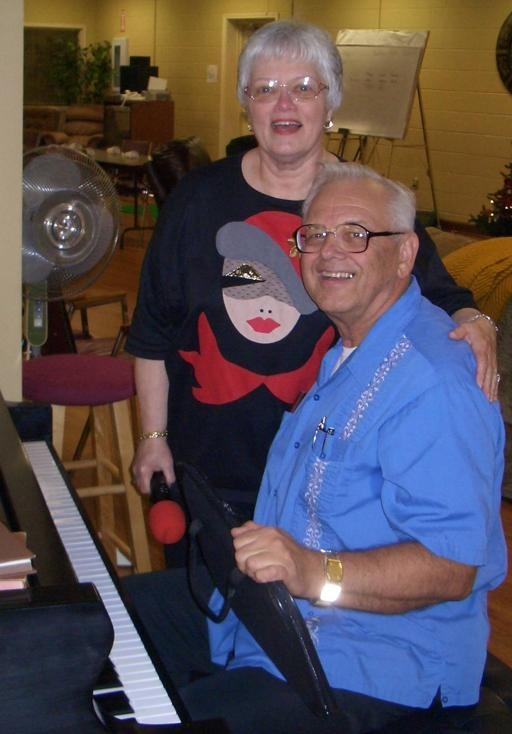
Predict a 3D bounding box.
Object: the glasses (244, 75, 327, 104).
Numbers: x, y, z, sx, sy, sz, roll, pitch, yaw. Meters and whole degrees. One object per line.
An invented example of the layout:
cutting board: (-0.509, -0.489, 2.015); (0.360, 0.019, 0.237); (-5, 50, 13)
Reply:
glasses: (0.075, -0.643, 1.401); (0.182, 0.059, 0.054); (3, 15, 2)

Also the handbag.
handbag: (0.008, 0.383, 0.991); (0.124, 0.275, 0.401); (-27, 62, -9)

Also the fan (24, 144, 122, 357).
fan: (-0.688, -0.503, 2.126); (0.220, 0.526, 0.367); (11, 17, 31)

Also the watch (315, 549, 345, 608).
watch: (0.109, 0.301, 0.859); (0.041, 0.063, 0.068); (11, -9, 0)
